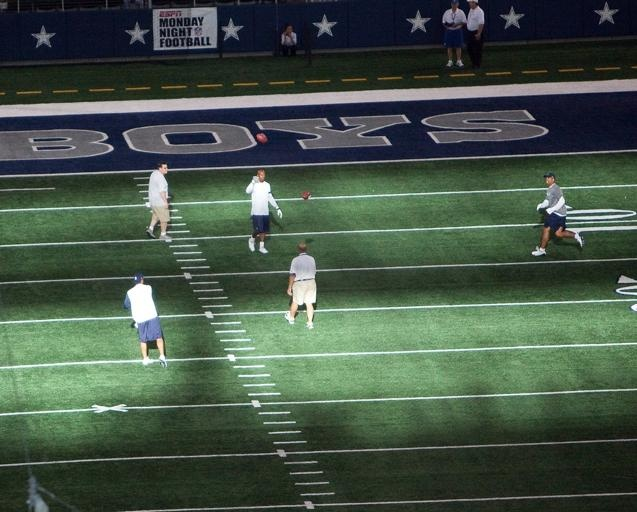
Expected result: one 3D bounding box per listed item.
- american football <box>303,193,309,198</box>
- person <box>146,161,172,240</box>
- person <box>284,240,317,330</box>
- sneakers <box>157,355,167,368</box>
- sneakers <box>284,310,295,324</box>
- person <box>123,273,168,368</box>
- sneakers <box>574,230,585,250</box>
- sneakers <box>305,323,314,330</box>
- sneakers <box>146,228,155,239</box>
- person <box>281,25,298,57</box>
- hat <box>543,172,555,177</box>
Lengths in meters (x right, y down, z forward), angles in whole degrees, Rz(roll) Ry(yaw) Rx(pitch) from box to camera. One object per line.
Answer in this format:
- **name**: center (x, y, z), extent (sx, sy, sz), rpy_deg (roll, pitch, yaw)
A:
- **american football**: center (-0.270, -1.466, 33.677), extent (0.140, 0.123, 0.145), rpy_deg (6, 23, 5)
- **person**: center (-3.677, -1.270, 32.229), extent (0.533, 1.889, 1.572), rpy_deg (-4, 13, -6)
- **person**: center (-0.350, 0.566, 28.095), extent (0.631, 1.784, 1.316), rpy_deg (-3, 13, -2)
- **sneakers**: center (-2.954, 1.982, 26.870), extent (0.122, 0.256, 0.119), rpy_deg (-33, 23, -7)
- **sneakers**: center (-0.556, 1.204, 28.558), extent (0.136, 0.126, 0.307), rpy_deg (-3, 25, -14)
- **person**: center (-3.282, 1.140, 26.893), extent (0.688, 1.858, 1.207), rpy_deg (-4, 13, -6)
- **sneakers**: center (5.882, -0.353, 31.225), extent (0.225, 0.457, 0.154), rpy_deg (-29, 38, 9)
- **sneakers**: center (-0.153, 1.370, 28.303), extent (0.192, 0.134, 0.105), rpy_deg (4, 4, 4)
- **sneakers**: center (-3.863, -0.540, 32.626), extent (0.127, 0.125, 0.339), rpy_deg (-6, -28, 31)
- **person**: center (-0.993, -7.583, 49.735), extent (0.613, 1.083, 0.996), rpy_deg (-2, 13, -1)
- **hat**: center (5.072, -1.792, 30.944), extent (0.280, 0.131, 0.342), rpy_deg (0, 7, 12)
